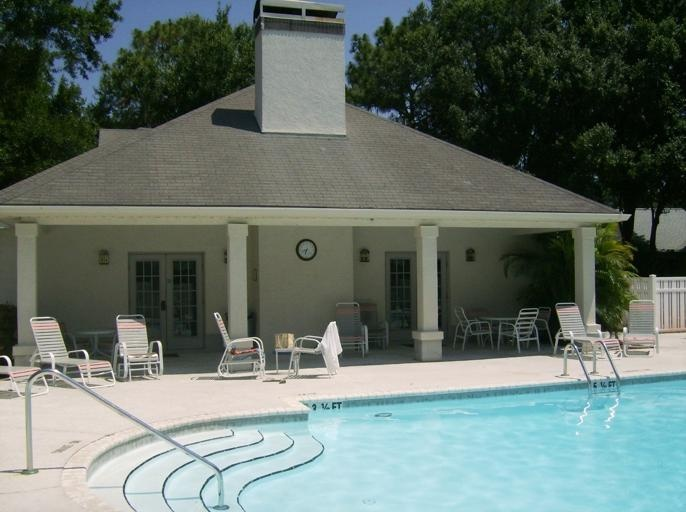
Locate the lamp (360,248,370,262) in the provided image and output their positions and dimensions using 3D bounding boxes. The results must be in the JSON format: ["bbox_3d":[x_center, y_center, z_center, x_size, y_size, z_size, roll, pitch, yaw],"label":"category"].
[{"bbox_3d":[0.662,0.006,24.060,0.377,0.559,0.117,0,1,-16],"label":"lamp"}]

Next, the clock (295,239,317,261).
[{"bbox_3d":[-1.100,-0.144,22.845,0.553,0.619,0.129,3,0,-14],"label":"clock"}]

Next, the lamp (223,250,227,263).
[{"bbox_3d":[-3.496,0.053,23.084,0.063,0.265,0.270,-2,-1,-21],"label":"lamp"}]
